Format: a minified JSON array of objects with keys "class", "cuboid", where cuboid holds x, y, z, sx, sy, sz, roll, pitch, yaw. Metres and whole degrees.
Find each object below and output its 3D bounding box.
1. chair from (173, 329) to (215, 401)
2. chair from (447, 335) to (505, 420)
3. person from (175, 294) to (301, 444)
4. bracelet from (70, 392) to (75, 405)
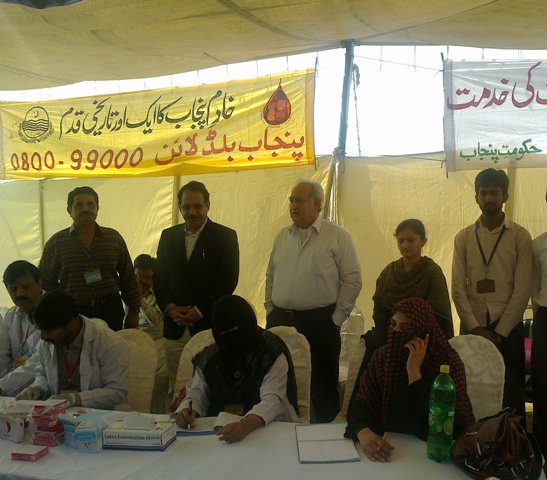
[{"class":"chair","cuboid":[-0.542,0.772,3.577,0.112,0.500,0.250,19,-32,3]},{"class":"chair","cuboid":[1.213,0.785,3.148,0.292,0.467,0.138,-5,-6,15]},{"class":"person","cuboid":[-0.174,0.701,3.130,0.580,0.826,0.742,-8,-14,28]},{"class":"bracelet","cuboid":[-1.129,0.903,3.101,0.011,0.050,0.044,-3,-1,10]}]
